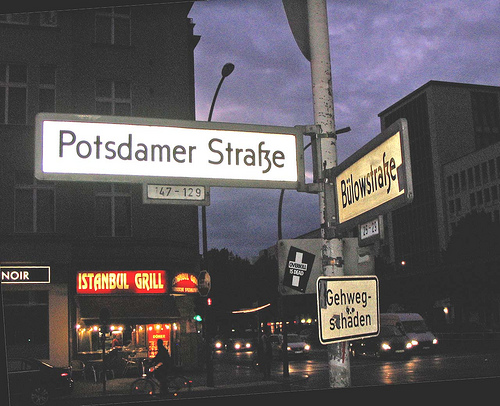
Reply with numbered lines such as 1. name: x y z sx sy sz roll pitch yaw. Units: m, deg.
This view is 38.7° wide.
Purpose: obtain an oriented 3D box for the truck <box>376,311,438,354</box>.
1. truck: 8.811 7.353 40.675 1.868 2.190 4.021 -1 -3 -19

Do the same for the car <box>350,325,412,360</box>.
1. car: 7.524 7.728 39.062 1.972 2.026 3.733 -2 -10 -4

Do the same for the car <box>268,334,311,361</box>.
1. car: 2.264 8.148 39.897 1.987 1.510 3.385 -2 -12 -2

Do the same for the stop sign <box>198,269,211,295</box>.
1. stop sign: -1.698 3.128 26.954 0.466 0.765 0.644 -1 -11 -5

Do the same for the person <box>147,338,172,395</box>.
1. person: -2.936 5.412 23.274 0.658 1.832 0.764 4 -12 -27

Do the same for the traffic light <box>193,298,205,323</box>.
1. traffic light: -1.928 4.166 27.343 0.385 0.871 1.020 -1 -12 -5
